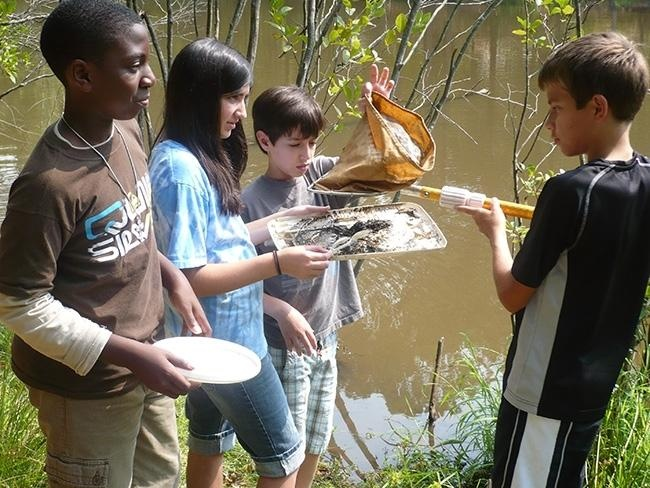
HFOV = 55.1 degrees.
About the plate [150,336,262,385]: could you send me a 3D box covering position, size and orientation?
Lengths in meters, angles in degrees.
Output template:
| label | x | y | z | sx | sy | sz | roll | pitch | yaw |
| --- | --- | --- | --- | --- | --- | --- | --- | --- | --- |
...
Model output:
| label | x | y | z | sx | sy | sz | roll | pitch | yaw |
| --- | --- | --- | --- | --- | --- | --- | --- | --- | --- |
| plate | -0.447 | 0.445 | 2.463 | 0.253 | 0.037 | 0.258 | 13 | 23 | -12 |
